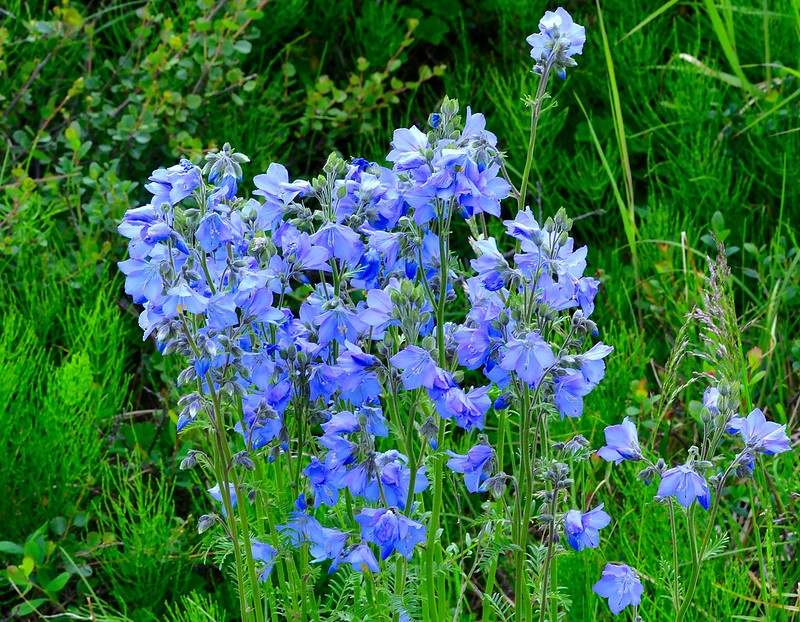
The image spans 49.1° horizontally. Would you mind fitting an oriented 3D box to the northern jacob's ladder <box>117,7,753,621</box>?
[{"bbox_3d":[0.101,0.119,3.287,1.669,2.598,1.669,9,-1,5],"label":"northern jacob's ladder"}]
